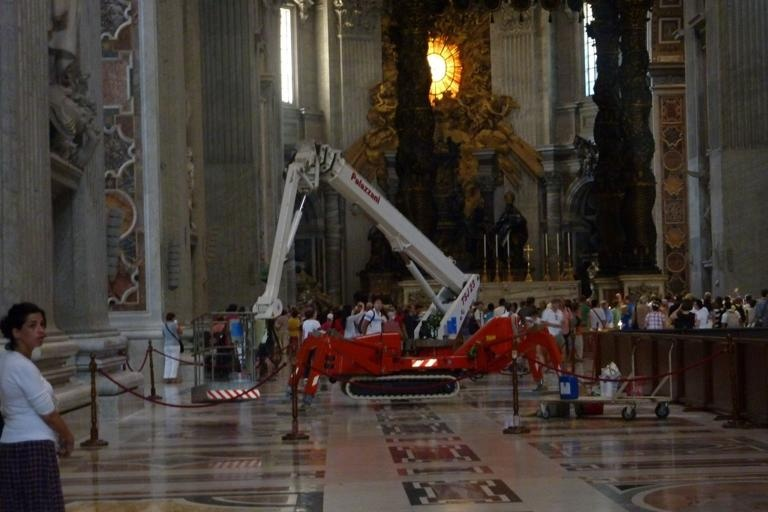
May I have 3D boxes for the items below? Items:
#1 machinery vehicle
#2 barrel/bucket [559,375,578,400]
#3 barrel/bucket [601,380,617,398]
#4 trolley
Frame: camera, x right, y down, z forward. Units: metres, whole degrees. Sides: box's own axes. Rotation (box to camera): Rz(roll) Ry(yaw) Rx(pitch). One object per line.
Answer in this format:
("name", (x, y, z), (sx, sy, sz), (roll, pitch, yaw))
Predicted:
("machinery vehicle", (0.361, 0.282, 21.745), (5.745, 4.341, 2.050), (0, 10, -22))
("barrel/bucket", (3.004, 2.123, 18.811), (0.298, 0.397, 0.472), (-1, -2, 9))
("barrel/bucket", (3.744, 2.209, 19.323), (0.263, 0.273, 0.258), (3, -9, 0))
("trolley", (3.733, 2.118, 19.407), (2.265, 1.375, 1.152), (0, -4, 8))
